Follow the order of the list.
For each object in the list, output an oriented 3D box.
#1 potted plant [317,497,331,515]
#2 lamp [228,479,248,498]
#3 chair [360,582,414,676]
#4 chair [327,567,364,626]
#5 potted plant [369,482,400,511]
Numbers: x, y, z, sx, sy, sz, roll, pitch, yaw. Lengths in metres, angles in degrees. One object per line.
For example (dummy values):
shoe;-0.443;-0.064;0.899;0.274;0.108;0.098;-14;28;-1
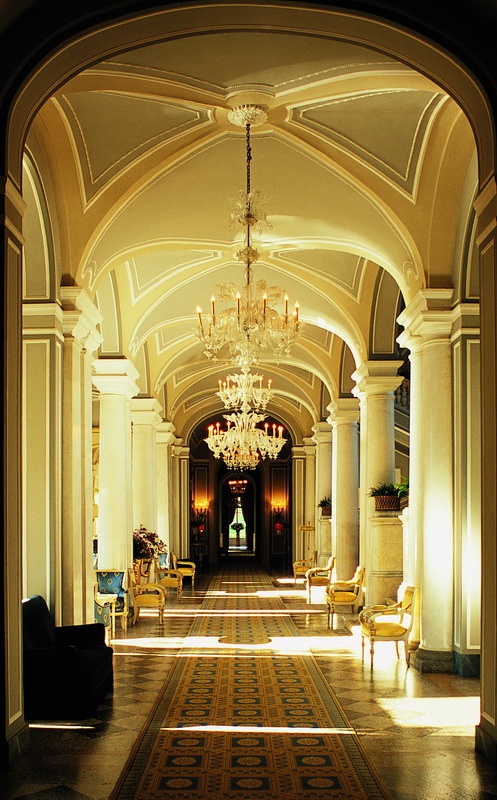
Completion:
potted plant;1.970;2.776;15.802;0.297;0.439;0.350;0;-11;0
lamp;-0.508;4.300;30.245;0.696;1.398;0.790;2;3;4
chair;1.514;2.467;6.712;0.488;0.864;0.576;3;-10;-4
chair;1.661;3.325;10.573;0.658;0.877;1.952;-2;-9;7
potted plant;2.123;1.529;9.528;0.310;0.339;0.350;1;-7;-4
